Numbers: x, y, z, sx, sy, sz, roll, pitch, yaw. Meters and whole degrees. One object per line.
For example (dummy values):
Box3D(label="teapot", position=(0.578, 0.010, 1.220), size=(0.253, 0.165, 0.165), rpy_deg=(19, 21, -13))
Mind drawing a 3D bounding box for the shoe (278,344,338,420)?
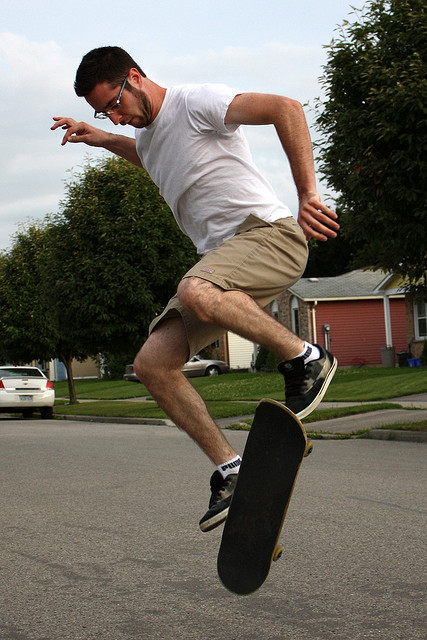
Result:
Box3D(label="shoe", position=(0.292, 0.197, 1.924), size=(0.115, 0.133, 0.336), rpy_deg=(-36, 14, 36))

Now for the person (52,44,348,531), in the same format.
Box3D(label="person", position=(-0.034, -0.150, 2.071), size=(0.949, 1.760, 0.839), rpy_deg=(-3, -8, 11))

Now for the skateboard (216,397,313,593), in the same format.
Box3D(label="skateboard", position=(0.167, 0.518, 1.686), size=(0.228, 0.593, 0.109), rpy_deg=(25, 10, 29))

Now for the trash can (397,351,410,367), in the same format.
Box3D(label="trash can", position=(8.262, 1.748, 25.411), size=(0.633, 0.618, 0.604), rpy_deg=(0, -3, 4))

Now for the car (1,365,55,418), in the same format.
Box3D(label="car", position=(-5.558, 2.167, 16.927), size=(1.560, 1.530, 0.645), rpy_deg=(5, -10, -39))
